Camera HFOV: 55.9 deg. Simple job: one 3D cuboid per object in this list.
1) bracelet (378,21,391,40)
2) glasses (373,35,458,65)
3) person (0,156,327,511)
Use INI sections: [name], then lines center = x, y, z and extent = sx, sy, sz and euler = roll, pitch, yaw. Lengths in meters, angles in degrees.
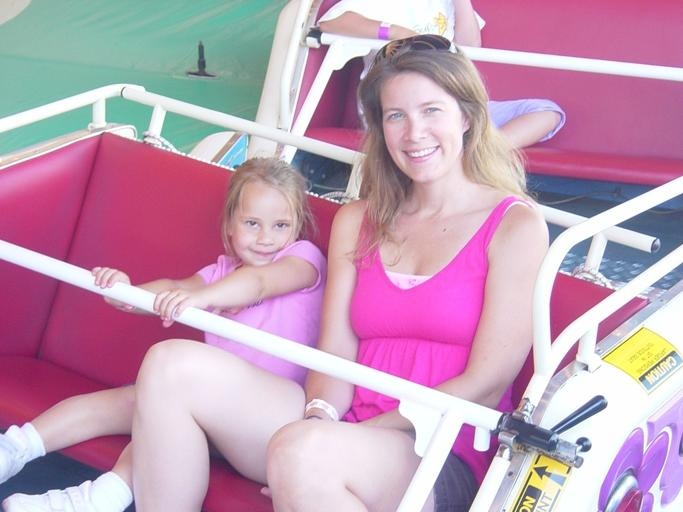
[bracelet]
center = 0.143, -0.767, 2.194
extent = 0.049, 0.049, 0.020
euler = 4, -8, 19
[glasses]
center = 0.148, -0.423, 1.297
extent = 0.101, 0.041, 0.077
euler = -1, 46, 8
[person]
center = -0.385, 0.082, 1.615
extent = 0.866, 0.831, 0.565
euler = 3, 10, -41
